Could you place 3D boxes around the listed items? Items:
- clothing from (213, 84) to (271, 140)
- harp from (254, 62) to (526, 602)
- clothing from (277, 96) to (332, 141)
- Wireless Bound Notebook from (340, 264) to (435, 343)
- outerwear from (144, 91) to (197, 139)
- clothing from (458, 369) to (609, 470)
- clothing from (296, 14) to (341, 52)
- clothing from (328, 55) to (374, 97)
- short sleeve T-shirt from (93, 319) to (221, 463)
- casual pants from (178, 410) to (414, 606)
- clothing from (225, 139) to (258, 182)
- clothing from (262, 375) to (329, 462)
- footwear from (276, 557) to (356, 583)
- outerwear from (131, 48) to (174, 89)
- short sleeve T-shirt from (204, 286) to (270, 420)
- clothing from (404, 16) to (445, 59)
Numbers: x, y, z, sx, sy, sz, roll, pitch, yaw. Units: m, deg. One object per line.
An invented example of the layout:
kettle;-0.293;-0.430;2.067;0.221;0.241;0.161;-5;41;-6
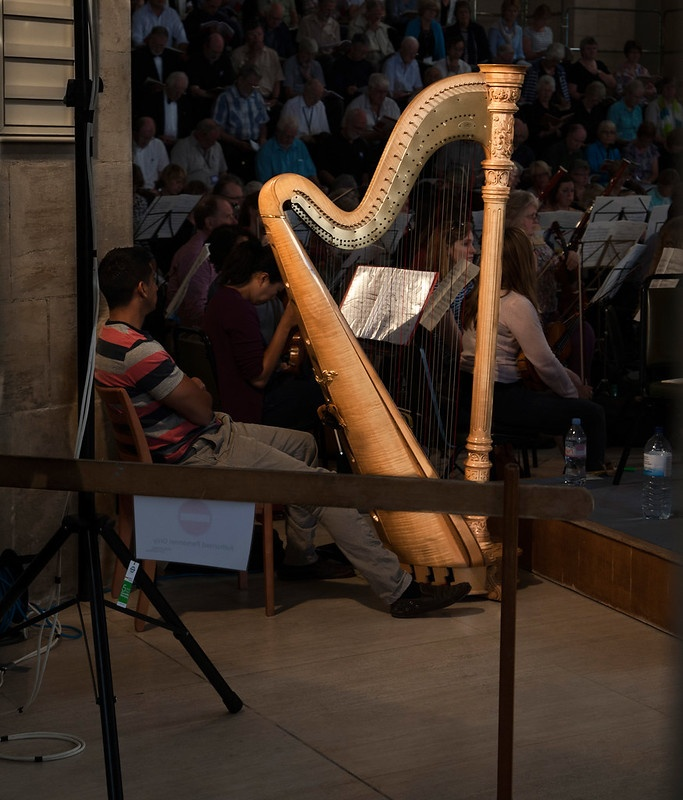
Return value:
clothing;-0.818;-2.288;7.276;0.614;0.499;0.316;-12;21;-39
harp;0.119;-0.184;2.834;0.843;1.548;0.552;3;7;14
clothing;-0.333;-2.356;7.661;0.546;0.409;0.292;-10;15;-37
Wireless Bound Notebook;0.178;-0.363;3.422;0.365;0.305;0.078;9;-20;32
outerwear;-1.295;-2.133;6.878;0.312;0.376;0.103;-4;13;-31
clothing;0.748;0.114;3.685;0.527;0.540;0.431;-3;-6;27
clothing;-0.226;-3.260;8.123;0.513;0.366;0.240;-10;26;-33
clothing;0.088;-2.931;8.291;0.368;0.414;0.125;4;0;-21
short sleeve T-shirt;-0.585;-0.013;2.890;0.302;0.447;0.392;-25;27;-20
casual pants;-0.104;0.361;3.283;0.775;0.814;0.607;-8;-2;-3
clothing;-0.809;-1.913;7.270;0.351;0.299;0.100;-6;-7;-40
clothing;-0.163;0.038;3.895;0.296;0.332;0.270;1;2;10
footwear;-0.086;0.619;3.348;0.297;0.103;0.093;-2;0;-7
outerwear;-1.416;-2.475;6.794;0.352;0.305;0.101;-1;17;-36
short sleeve T-shirt;-0.380;-0.163;3.491;0.125;0.445;0.351;6;11;28
clothing;0.817;-3.462;8.792;0.408;0.403;0.113;-2;8;-22
